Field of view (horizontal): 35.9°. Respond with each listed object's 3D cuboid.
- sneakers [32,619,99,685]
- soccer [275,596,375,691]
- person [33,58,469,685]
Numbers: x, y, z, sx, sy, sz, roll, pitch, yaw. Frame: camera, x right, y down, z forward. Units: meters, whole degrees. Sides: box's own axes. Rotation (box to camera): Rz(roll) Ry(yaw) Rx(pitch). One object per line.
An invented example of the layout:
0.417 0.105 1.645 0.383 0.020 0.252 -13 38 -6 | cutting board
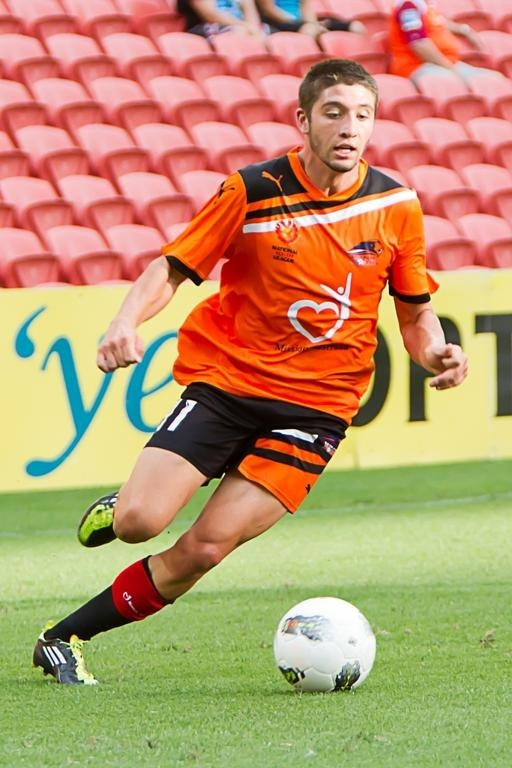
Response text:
-0.479 0.680 1.996 0.206 0.102 0.076 33 -5 30 | sneakers
0.145 0.602 1.846 0.228 0.198 0.199 -1 -28 1 | soccer
-0.018 0.071 1.869 1.013 1.312 0.468 -4 6 -17 | person
